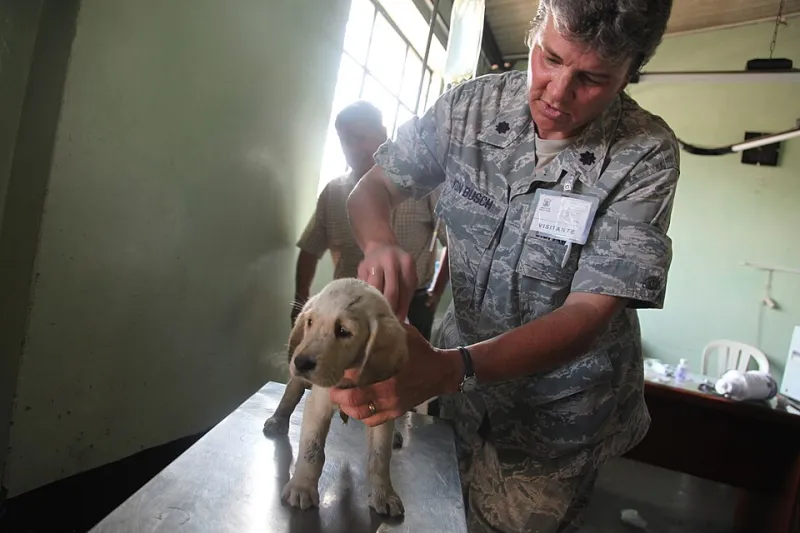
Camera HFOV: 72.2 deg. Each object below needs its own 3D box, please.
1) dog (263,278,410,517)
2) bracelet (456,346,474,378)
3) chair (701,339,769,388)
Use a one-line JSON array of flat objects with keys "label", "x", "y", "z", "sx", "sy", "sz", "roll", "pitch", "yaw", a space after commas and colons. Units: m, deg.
[{"label": "dog", "x": -0.258, "y": 0.512, "z": 2.431, "sx": 0.596, "sy": 0.959, "sz": 0.586, "roll": 6, "pitch": 9, "yaw": -13}, {"label": "bracelet", "x": 0.271, "y": 0.388, "z": 2.247, "sx": 0.068, "sy": 0.106, "sz": 0.108, "roll": -5, "pitch": 15, "yaw": -23}, {"label": "chair", "x": 3.680, "y": 1.048, "z": 6.012, "sx": 0.471, "sy": 0.654, "sz": 0.482, "roll": -4, "pitch": -25, "yaw": 34}]
